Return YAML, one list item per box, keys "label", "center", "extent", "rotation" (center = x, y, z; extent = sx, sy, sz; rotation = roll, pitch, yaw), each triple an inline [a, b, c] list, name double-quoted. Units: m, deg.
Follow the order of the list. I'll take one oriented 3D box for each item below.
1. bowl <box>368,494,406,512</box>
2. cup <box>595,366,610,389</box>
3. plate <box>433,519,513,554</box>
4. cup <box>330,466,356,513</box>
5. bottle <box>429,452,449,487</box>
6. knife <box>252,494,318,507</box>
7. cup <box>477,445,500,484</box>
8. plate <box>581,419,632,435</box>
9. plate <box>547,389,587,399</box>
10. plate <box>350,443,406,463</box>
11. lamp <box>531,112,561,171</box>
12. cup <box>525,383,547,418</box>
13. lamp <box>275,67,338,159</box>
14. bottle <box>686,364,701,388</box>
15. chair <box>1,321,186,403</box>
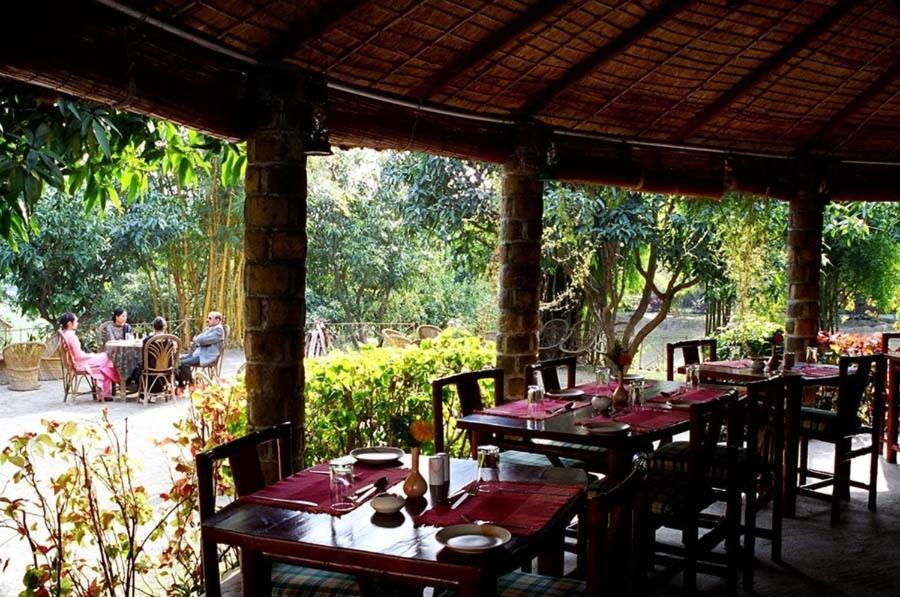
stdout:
- label: "bowl"
  center: [-0.294, 0.964, 3.358]
  extent: [0.100, 0.044, 0.101]
  rotation: [-1, 1, 0]
- label: "cup"
  center: [1.060, 0.554, 5.038]
  extent: [0.121, 0.183, 0.121]
  rotation: [-1, -2, 0]
- label: "plate"
  center: [0.099, 1.037, 3.070]
  extent: [0.327, 0.091, 0.174]
  rotation: [-1, 0, 7]
- label: "cup"
  center: [-0.522, 0.907, 3.424]
  extent: [0.109, 0.195, 0.159]
  rotation: [0, 0, -12]
- label: "bottle"
  center: [-0.053, 0.839, 3.499]
  extent: [0.134, 0.141, 0.134]
  rotation: [0, 2, 11]
- label: "knife"
  center: [-0.810, 0.979, 3.429]
  extent: [0.356, 0.043, 0.067]
  rotation: [-1, 0, 11]
- label: "cup"
  center: [0.188, 0.818, 3.533]
  extent: [0.103, 0.141, 0.149]
  rotation: [0, 0, 3]
- label: "plate"
  center: [0.953, 0.795, 4.365]
  extent: [0.282, 0.050, 0.177]
  rotation: [-1, -1, 3]
- label: "plate"
  center: [0.870, 0.709, 5.236]
  extent: [0.224, 0.047, 0.357]
  rotation: [-1, -1, 34]
- label: "plate"
  center: [-0.413, 0.877, 3.953]
  extent: [0.277, 0.080, 0.243]
  rotation: [0, -1, -36]
- label: "lamp"
  center: [0.822, -1.277, 6.044]
  extent: [0.217, 0.355, 0.093]
  rotation: [0, 0, -32]
- label: "cup"
  center: [0.569, 0.682, 4.727]
  extent: [0.111, 0.155, 0.274]
  rotation: [-1, 0, 6]
- label: "lamp"
  center: [-0.927, -1.189, 4.555]
  extent: [0.305, 0.496, 0.151]
  rotation: [0, 0, -13]
- label: "bottle"
  center: [1.834, 0.587, 5.374]
  extent: [0.079, 0.107, 0.081]
  rotation: [0, 0, 0]
- label: "chair"
  center: [-4.756, 0.967, 9.901]
  extent: [1.754, 0.876, 1.083]
  rotation: [-4, 6, -25]
